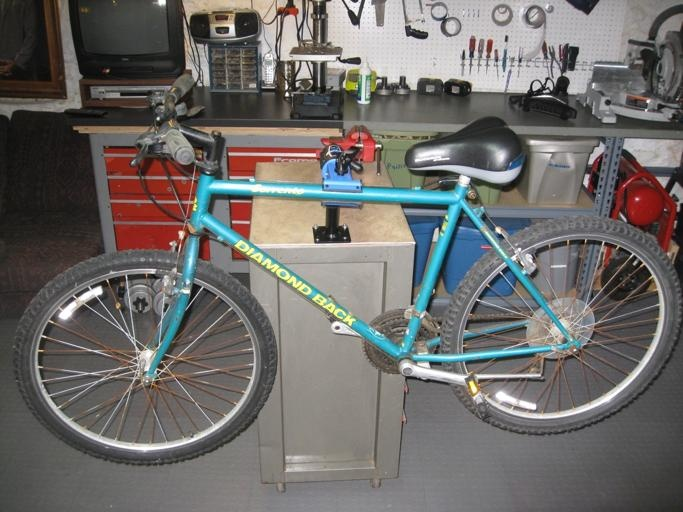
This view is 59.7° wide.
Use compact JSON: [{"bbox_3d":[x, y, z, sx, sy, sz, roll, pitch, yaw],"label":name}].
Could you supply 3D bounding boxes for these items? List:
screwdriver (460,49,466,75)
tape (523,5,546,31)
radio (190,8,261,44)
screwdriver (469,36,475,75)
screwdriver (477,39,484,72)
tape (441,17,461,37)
[{"bbox_3d":[0.867,-1.387,4.253,0.051,0.179,0.028,-16,29,-37],"label":"screwdriver"},{"bbox_3d":[1.329,-1.660,4.119,0.157,0.154,0.035,-1,23,-9],"label":"tape"},{"bbox_3d":[-0.763,-1.507,3.895,0.443,0.213,0.172,-5,24,-16],"label":"radio"},{"bbox_3d":[0.915,-1.452,4.200,0.035,0.192,0.038,2,20,2],"label":"screwdriver"},{"bbox_3d":[0.989,-1.433,4.228,0.049,0.208,0.033,2,22,1],"label":"screwdriver"},{"bbox_3d":[0.765,-1.606,4.161,0.147,0.128,0.035,-4,23,-14],"label":"tape"}]
